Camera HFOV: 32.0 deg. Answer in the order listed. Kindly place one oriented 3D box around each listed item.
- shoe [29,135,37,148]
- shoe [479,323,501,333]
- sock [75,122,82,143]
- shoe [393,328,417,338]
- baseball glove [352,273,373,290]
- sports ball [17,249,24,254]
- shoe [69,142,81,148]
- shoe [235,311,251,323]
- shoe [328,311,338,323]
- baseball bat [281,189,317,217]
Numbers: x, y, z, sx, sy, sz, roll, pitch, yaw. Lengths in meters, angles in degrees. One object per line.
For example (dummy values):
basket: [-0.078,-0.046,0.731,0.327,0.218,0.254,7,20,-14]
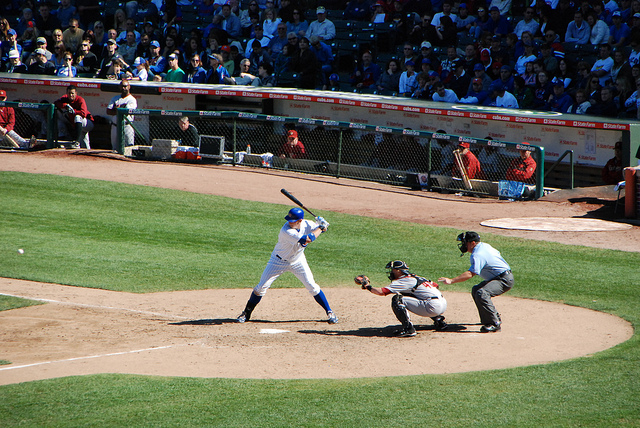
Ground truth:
shoe: [-9.985,-2.498,38.677,0.166,0.454,0.211,13,-15,-11]
shoe: [4.042,2.710,26.503,0.471,0.185,0.193,2,0,-7]
sock: [-8.482,-2.928,39.051,0.241,0.653,0.508,-1,8,-15]
shoe: [2.017,2.822,26.507,0.555,0.203,0.181,2,1,0]
baseball glove: [0.940,1.593,26.492,0.382,0.218,0.461,18,-4,-28]
sports ball: [-7.995,0.969,29.726,0.150,0.097,0.194,-2,8,-24]
shoe: [-8.573,-2.439,38.995,0.368,0.211,0.206,-6,11,-44]
shoe: [-1.900,2.479,27.071,0.339,0.269,0.117,0,9,-9]
shoe: [0.315,2.483,27.046,0.291,0.202,0.101,33,39,0]
baseball bat: [-0.635,-0.306,31.923,1.376,0.166,0.172,34,39,0]
